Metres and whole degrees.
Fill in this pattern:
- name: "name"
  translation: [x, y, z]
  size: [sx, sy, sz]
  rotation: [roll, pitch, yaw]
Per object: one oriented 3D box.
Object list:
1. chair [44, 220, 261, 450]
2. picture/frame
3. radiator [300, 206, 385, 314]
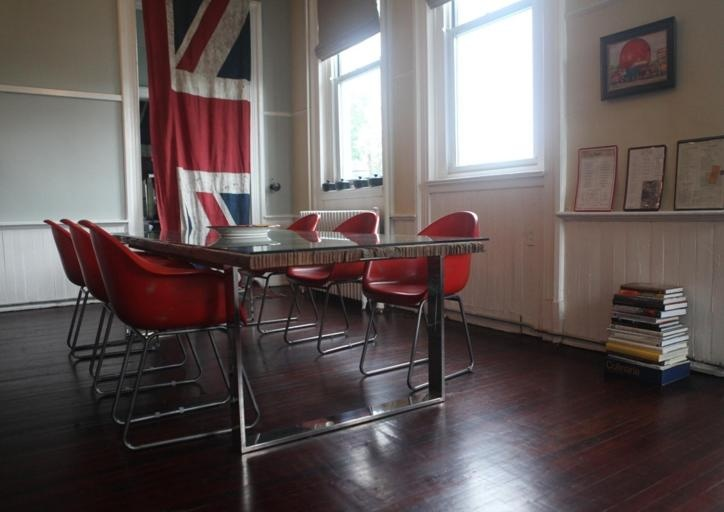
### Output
- name: "chair"
  translation: [-1.097, 0.366, 2.819]
  size: [0.663, 1.151, 1.128]
  rotation: [-11, 16, -41]
- name: "picture/frame"
  translation: [1.924, -1.369, 3.499]
  size: [0.046, 0.670, 0.639]
  rotation: [-4, 5, -39]
- name: "radiator"
  translation: [-0.295, 0.037, 4.167]
  size: [0.748, 0.899, 0.750]
  rotation: [-10, -9, 7]
